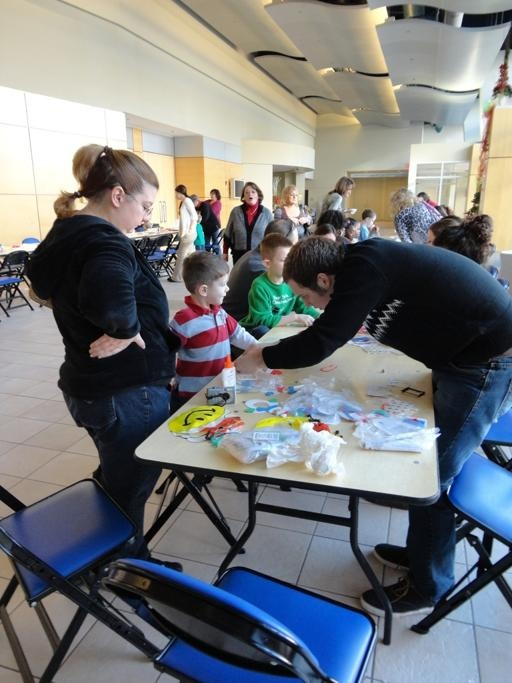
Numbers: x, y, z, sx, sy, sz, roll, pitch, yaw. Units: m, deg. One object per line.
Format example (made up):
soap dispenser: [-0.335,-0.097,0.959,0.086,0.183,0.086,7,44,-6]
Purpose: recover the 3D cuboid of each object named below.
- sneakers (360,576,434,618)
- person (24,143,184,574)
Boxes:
sneakers: [0.399,0.804,1.560,0.277,0.101,0.094,3,36,0]
person: [-0.435,0.151,1.461,0.391,1.348,0.547,-3,22,-7]
